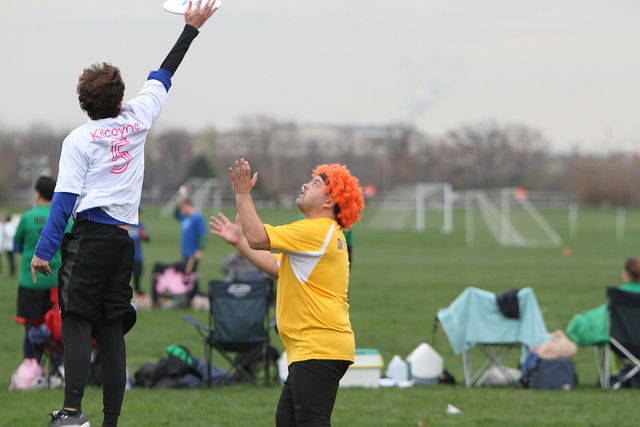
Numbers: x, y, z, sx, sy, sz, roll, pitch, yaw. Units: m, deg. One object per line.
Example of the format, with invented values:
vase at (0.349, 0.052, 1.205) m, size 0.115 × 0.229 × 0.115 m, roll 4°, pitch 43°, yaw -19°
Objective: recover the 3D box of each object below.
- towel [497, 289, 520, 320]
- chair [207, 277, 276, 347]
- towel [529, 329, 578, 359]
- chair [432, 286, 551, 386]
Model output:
towel at (2.559, 1.165, 20.003) m, size 0.356 × 0.370 × 0.285 m, roll -5°, pitch -8°, yaw 44°
chair at (-1.204, 1.394, 21.709) m, size 0.900 × 1.259 × 0.882 m, roll 1°, pitch -13°, yaw -1°
towel at (3.155, 1.698, 19.936) m, size 0.621 × 0.370 × 0.316 m, roll -1°, pitch 0°, yaw -34°
chair at (2.370, 1.494, 20.440) m, size 1.264 × 1.258 × 1.540 m, roll -1°, pitch -2°, yaw 6°
